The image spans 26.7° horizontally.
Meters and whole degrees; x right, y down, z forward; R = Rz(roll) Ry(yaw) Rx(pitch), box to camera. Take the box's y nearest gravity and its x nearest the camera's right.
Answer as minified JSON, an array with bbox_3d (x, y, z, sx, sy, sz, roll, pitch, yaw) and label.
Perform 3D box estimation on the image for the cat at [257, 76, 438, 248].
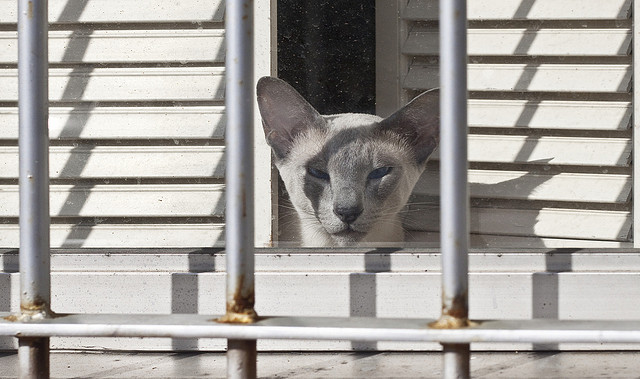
[{"bbox_3d":[0.069,-0.227,9.210,1.324,0.928,1.281,4,13,-15],"label":"cat"}]
